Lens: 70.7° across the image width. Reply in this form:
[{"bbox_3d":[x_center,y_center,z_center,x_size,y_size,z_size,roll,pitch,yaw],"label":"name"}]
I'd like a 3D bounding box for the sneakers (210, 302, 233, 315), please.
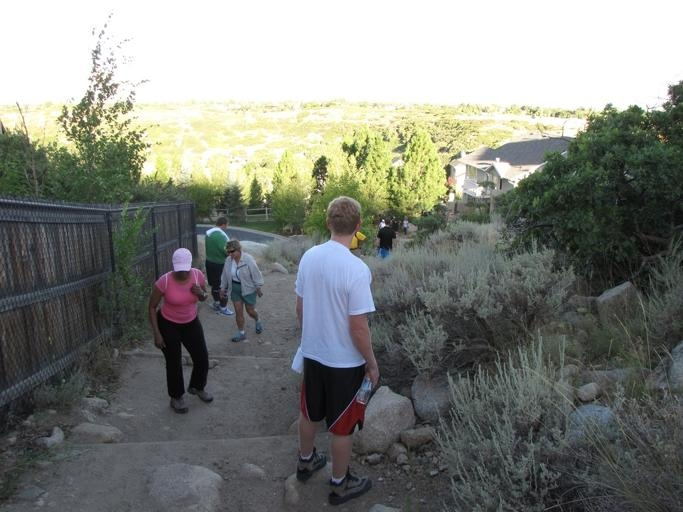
[{"bbox_3d":[-2.783,1.167,10.998,0.660,0.319,0.226,7,17,37],"label":"sneakers"}]

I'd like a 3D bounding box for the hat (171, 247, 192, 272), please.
[{"bbox_3d":[-1.987,0.051,5.997,0.191,0.182,0.307,0,15,-17],"label":"hat"}]

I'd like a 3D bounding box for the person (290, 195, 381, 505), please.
[{"bbox_3d":[-0.058,0.875,4.514,0.812,2.834,0.393,4,7,8],"label":"person"}]

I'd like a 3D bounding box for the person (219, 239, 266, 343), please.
[{"bbox_3d":[-1.934,0.644,9.352,0.789,1.920,0.809,2,7,-15],"label":"person"}]

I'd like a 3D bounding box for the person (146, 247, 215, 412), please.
[{"bbox_3d":[-2.060,0.967,6.221,0.806,2.151,0.602,-1,8,-37],"label":"person"}]

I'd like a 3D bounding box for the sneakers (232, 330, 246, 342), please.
[{"bbox_3d":[-1.956,1.534,9.257,0.124,0.139,0.303,5,4,25],"label":"sneakers"}]

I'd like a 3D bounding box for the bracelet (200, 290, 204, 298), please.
[{"bbox_3d":[-1.750,0.490,6.100,0.054,0.071,0.075,-3,15,-1],"label":"bracelet"}]
